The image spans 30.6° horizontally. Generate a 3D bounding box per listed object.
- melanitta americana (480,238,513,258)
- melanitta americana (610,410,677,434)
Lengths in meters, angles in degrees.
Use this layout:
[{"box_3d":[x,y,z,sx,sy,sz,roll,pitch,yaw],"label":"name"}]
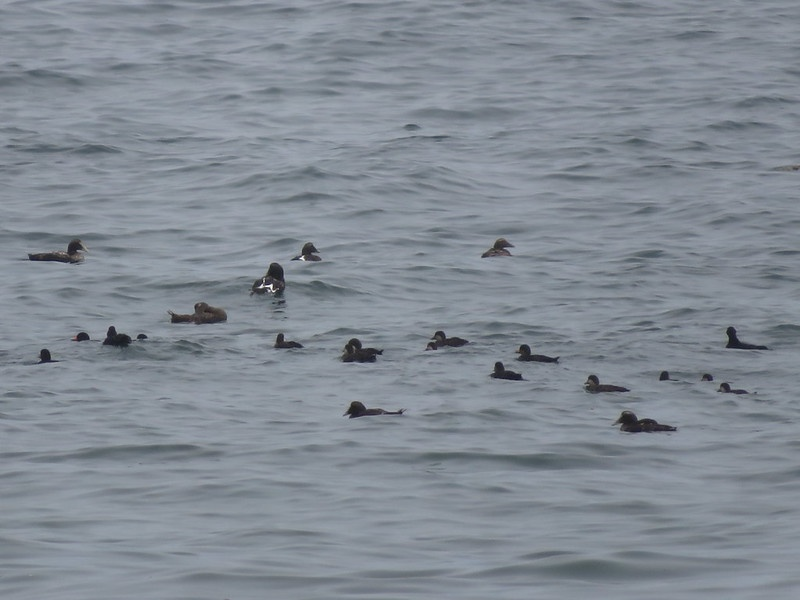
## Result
[{"box_3d":[2.305,-1.253,34.340,0.790,0.225,0.470,-10,13,-36],"label":"melanitta americana"},{"box_3d":[4.335,2.114,25.695,1.099,0.359,0.418,1,-1,6],"label":"melanitta americana"}]
